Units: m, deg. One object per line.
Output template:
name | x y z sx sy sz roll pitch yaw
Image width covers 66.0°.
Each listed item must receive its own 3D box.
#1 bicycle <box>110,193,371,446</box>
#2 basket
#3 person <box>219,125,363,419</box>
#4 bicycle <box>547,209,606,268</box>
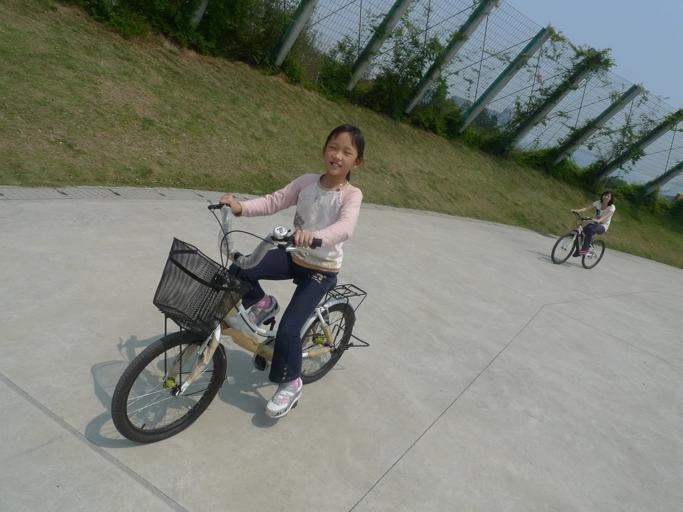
bicycle | -0.638 0.463 4.267 2.373 1.581 0.939 -9 28 -43
basket | -1.029 0.221 3.769 0.650 0.505 0.713 16 -23 52
person | -0.387 0.048 4.105 1.060 2.157 0.991 -2 25 -37
bicycle | 4.556 -0.185 10.096 1.170 0.762 0.593 14 9 -24
